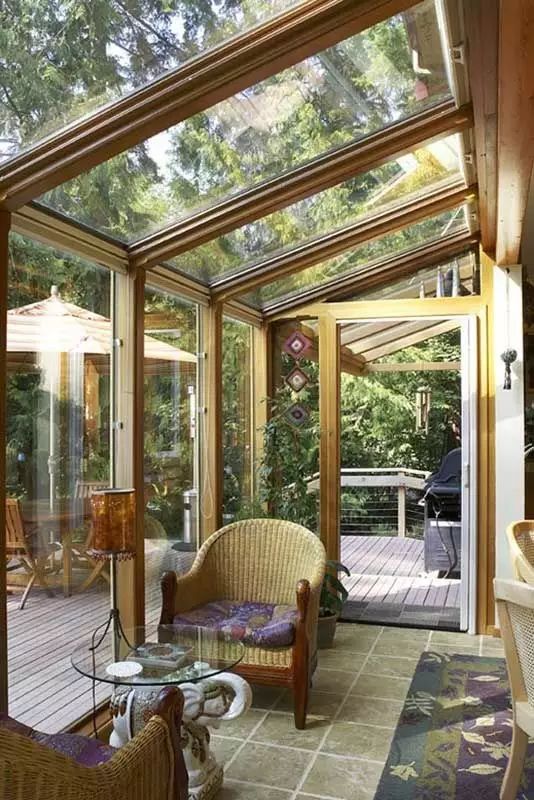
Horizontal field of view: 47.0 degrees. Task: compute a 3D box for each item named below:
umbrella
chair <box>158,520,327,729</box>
[{"bbox_3d":[-0.429,0.121,2.727,0.955,1.030,0.995,-3,-10,13],"label":"umbrella"},{"bbox_3d":[-0.281,1.201,3.576,0.919,1.269,0.906,-2,-12,16],"label":"chair"}]
